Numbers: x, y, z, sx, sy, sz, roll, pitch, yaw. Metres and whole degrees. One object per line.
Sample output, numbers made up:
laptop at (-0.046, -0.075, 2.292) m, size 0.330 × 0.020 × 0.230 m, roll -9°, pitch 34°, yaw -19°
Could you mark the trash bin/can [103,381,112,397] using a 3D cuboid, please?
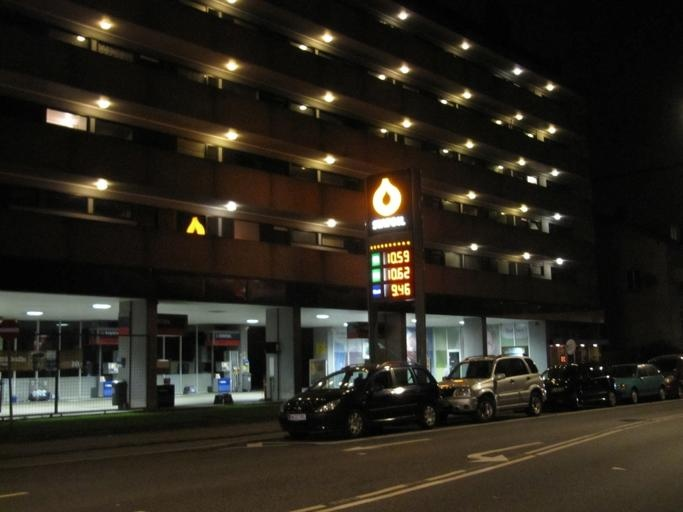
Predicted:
trash bin/can at (-11.113, 6.211, 33.969) m, size 0.458 × 0.748 × 1.019 m, roll 2°, pitch -14°, yaw -22°
